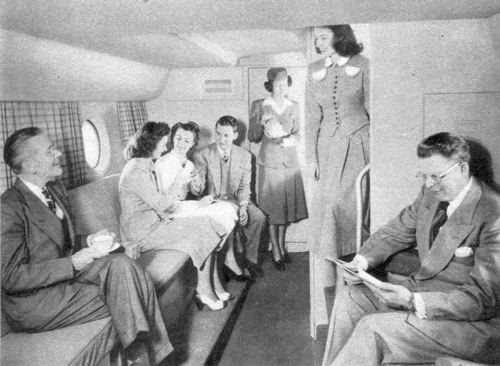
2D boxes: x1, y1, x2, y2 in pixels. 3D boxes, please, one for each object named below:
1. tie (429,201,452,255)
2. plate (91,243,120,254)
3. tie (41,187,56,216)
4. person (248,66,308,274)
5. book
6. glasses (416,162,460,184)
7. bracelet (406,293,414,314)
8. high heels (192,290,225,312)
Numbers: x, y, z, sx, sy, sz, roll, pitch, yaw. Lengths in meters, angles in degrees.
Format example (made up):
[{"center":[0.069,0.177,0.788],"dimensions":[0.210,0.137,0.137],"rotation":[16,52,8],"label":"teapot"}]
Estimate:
[{"center":[1.033,0.234,2.104],"dimensions":[0.075,0.211,0.163],"rotation":[15,-3,11],"label":"tie"},{"center":[-0.814,0.375,2.189],"dimensions":[0.113,0.038,0.079],"rotation":[-9,-3,7],"label":"plate"},{"center":[-1.139,0.109,2.191],"dimensions":[0.048,0.128,0.102],"rotation":[-28,19,-38],"label":"tie"},{"center":[0.162,-0.078,2.147],"dimensions":[0.288,1.118,0.109],"rotation":[-4,7,-15],"label":"person"},{"center":[0.589,0.472,2.231],"dimensions":[0.433,0.110,0.126],"rotation":[23,-20,16],"label":"book"},{"center":[1.013,-0.042,2.098],"dimensions":[0.171,0.049,0.124],"rotation":[-33,11,-21],"label":"glasses"},{"center":[0.876,0.663,2.078],"dimensions":[0.055,0.079,0.021],"rotation":[1,-1,10],"label":"bracelet"},{"center":[-0.231,0.677,2.182],"dimensions":[0.229,0.095,0.074],"rotation":[0,7,2],"label":"high heels"}]
